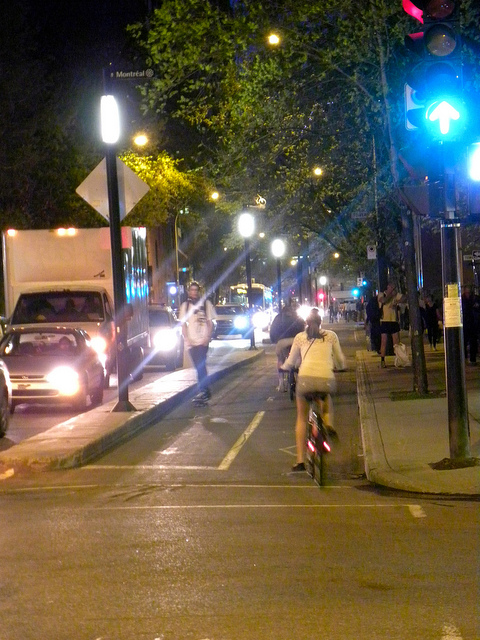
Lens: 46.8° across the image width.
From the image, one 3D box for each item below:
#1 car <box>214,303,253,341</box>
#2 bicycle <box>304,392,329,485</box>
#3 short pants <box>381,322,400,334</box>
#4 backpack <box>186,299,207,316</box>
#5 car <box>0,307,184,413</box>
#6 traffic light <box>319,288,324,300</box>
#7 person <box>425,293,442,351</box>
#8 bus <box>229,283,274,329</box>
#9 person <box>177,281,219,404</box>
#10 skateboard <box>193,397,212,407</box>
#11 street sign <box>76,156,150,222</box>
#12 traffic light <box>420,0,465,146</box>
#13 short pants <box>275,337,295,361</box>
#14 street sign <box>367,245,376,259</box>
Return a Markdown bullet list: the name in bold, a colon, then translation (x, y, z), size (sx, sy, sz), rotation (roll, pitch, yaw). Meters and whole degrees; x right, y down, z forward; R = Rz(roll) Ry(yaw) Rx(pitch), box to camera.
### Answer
- **car**: translation (-0.545, 0.126, 42.529), size (2.375, 3.059, 4.393), rotation (1, -5, -5)
- **bicycle**: translation (0.860, 1.293, 6.200), size (0.228, 0.963, 0.768), rotation (0, -4, 8)
- **short pants**: translation (5.139, 0.244, 18.999), size (0.827, 0.402, 0.364), rotation (5, -6, -37)
- **backpack**: translation (-0.916, -0.297, 11.848), size (0.421, 0.278, 0.242), rotation (0, -4, 4)
- **car**: translation (-3.923, 0.978, 14.717), size (1.368, 2.276, 6.436), rotation (-2, -1, 5)
- **traffic light**: translation (7.535, -2.498, 51.099), size (0.394, 0.777, 1.794), rotation (0, -5, 5)
- **person**: translation (8.740, 0.216, 24.920), size (0.650, 2.838, 0.725), rotation (2, -29, 13)
- **bus**: translation (1.504, -2.504, 74.167), size (3.169, 6.303, 10.733), rotation (0, -4, 5)
- **person**: translation (-0.878, 0.479, 12.155), size (0.721, 2.957, 0.897), rotation (2, 26, 4)
- **skateboard**: translation (-0.828, 1.803, 12.362), size (0.406, 0.293, 0.175), rotation (-3, 0, -4)
- **street sign**: translation (-2.407, -2.506, 10.570), size (1.293, 1.226, 0.299), rotation (1, -3, 2)
- **traffic light**: translation (2.256, -2.677, 6.073), size (0.437, 1.380, 0.573), rotation (0, -4, 14)
- **short pants**: translation (1.020, 0.623, 12.547), size (0.402, 0.496, 0.362), rotation (-1, -4, 16)
- **street sign**: translation (6.146, -3.177, 25.692), size (0.328, 0.974, 0.601), rotation (3, -23, 3)
